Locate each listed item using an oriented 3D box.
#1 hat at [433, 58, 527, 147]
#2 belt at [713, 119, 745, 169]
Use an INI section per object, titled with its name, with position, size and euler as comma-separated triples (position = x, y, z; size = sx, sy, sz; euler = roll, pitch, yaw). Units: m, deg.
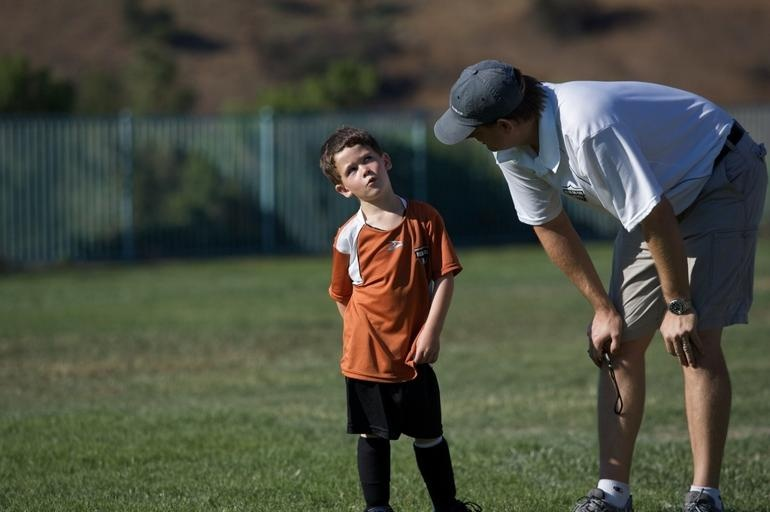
[hat]
position = 0.740, -1.260, 13.105
size = 0.768, 0.530, 0.311
euler = -40, -34, 8
[belt]
position = 2.835, -0.931, 13.314
size = 0.145, 0.369, 0.266
euler = 34, 6, -6
